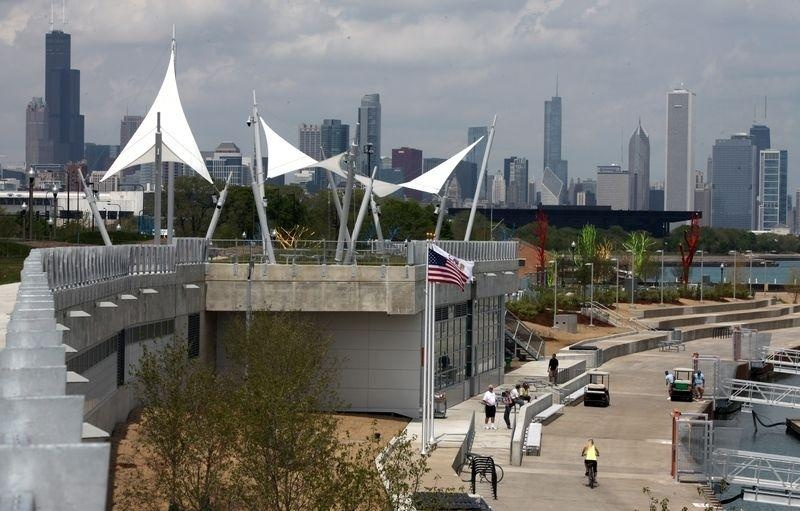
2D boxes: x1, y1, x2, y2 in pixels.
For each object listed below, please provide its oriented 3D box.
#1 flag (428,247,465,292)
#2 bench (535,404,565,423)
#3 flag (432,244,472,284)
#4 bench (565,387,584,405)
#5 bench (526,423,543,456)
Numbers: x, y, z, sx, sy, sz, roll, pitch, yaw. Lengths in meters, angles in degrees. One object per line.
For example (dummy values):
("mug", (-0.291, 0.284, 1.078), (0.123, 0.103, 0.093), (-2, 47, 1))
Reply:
("flag", (2.410, 0.923, 75.625), (2.135, 2.272, 0.315), (15, -18, -16))
("bench", (9.395, 10.188, 83.966), (0.971, 1.045, 4.270), (-2, 0, 20))
("flag", (2.738, 0.527, 76.219), (2.054, 2.285, 0.450), (7, -18, -16))
("bench", (11.723, 9.659, 89.344), (1.229, 0.992, 3.287), (-2, 0, 10))
("bench", (7.764, 10.985, 78.118), (0.920, 1.737, 2.516), (-1, 0, 9))
